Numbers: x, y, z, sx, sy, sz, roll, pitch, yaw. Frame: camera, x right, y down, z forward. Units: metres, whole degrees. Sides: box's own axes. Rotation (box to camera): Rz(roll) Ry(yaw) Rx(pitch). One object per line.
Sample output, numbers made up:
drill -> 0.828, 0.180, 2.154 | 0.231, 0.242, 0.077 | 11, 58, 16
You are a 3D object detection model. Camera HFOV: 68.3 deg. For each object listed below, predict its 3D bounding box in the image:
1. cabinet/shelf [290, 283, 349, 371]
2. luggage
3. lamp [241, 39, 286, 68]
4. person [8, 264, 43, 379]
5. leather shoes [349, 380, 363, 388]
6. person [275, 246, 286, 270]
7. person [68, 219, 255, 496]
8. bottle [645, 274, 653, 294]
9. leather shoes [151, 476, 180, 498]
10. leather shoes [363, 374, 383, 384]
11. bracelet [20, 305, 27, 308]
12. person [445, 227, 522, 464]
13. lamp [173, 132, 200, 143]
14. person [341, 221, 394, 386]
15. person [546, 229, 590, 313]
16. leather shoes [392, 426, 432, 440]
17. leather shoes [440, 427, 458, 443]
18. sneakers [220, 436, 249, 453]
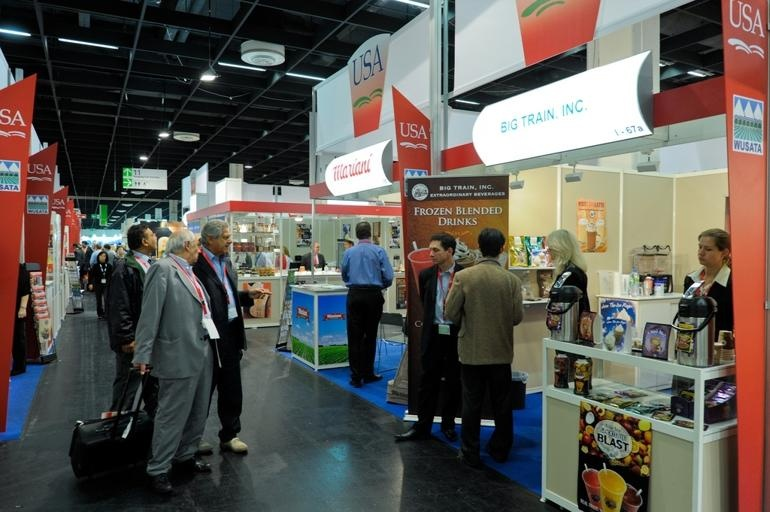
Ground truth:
cabinet/shelf -> -0.980, 0.984, 8.421 | 0.575, 1.171, 0.863 | -5, 9, -29
luggage -> -2.421, 1.451, 5.141 | 0.360, 1.024, 0.684 | 21, 13, 38
lamp -> -2.020, -3.325, 9.359 | 0.583, 0.215, 0.592 | 1, -4, -11
person -> -4.892, 0.835, 7.623 | 0.334, 1.580, 1.153 | -5, 9, -32
leather shoes -> -0.372, 1.636, 7.317 | 0.158, 0.084, 0.131 | -1, 9, -6
person -> -2.245, 0.021, 12.248 | 0.261, 0.507, 1.271 | -1, 9, -9
person -> -2.045, 0.880, 5.048 | 1.110, 2.191, 0.741 | 2, 8, 13
bottle -> 3.455, 0.377, 7.443 | 0.063, 0.236, 0.226 | 7, 11, 43
leather shoes -> -1.911, 1.954, 4.886 | 0.197, 0.173, 0.195 | -5, 10, -28
leather shoes -> -0.168, 1.626, 7.580 | 0.271, 0.119, 0.099 | -2, 2, -36
bracelet -> -4.672, 0.644, 7.320 | 0.015, 0.042, 0.041 | 7, -3, 18
person -> 0.904, 0.842, 5.279 | 0.702, 2.176, 0.411 | 1, 8, 7
lamp -> -4.992, -2.990, 14.203 | 0.528, 0.128, 0.537 | 1, -1, -6
person -> -0.229, 0.747, 7.457 | 0.605, 1.809, 0.525 | -2, 8, -12
person -> 1.714, 0.135, 5.305 | 0.367, 0.718, 0.462 | 2, 8, 15
leather shoes -> 0.283, 1.788, 5.839 | 0.419, 0.184, 0.141 | 3, -5, -6
leather shoes -> 0.659, 1.799, 5.738 | 0.086, 0.078, 0.190 | 1, -5, -17
sneakers -> -1.464, 1.841, 5.530 | 0.252, 0.104, 0.130 | -3, -7, 32
